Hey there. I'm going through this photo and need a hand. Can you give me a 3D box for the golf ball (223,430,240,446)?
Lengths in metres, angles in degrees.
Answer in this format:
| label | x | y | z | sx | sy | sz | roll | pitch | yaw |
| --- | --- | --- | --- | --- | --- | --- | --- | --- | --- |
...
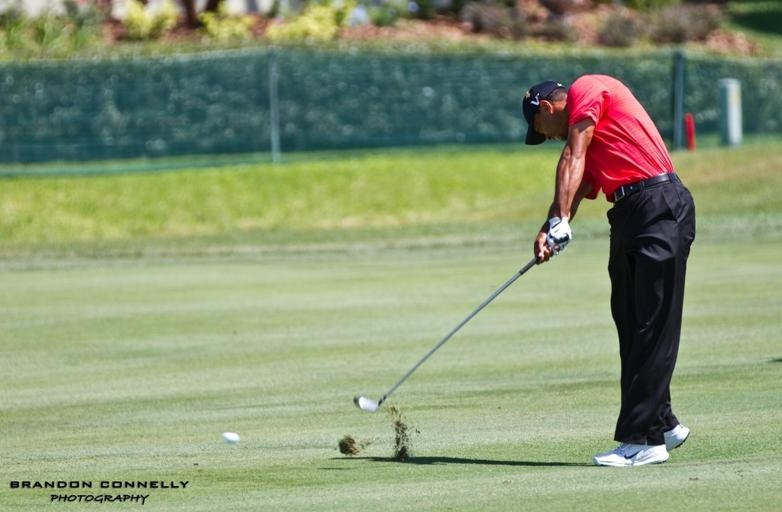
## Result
| label | x | y | z | sx | sy | sz | roll | pitch | yaw |
| --- | --- | --- | --- | --- | --- | --- | --- | --- | --- |
| golf ball | -1.963 | 2.284 | 22.476 | 0.211 | 0.133 | 0.181 | -8 | 12 | -19 |
